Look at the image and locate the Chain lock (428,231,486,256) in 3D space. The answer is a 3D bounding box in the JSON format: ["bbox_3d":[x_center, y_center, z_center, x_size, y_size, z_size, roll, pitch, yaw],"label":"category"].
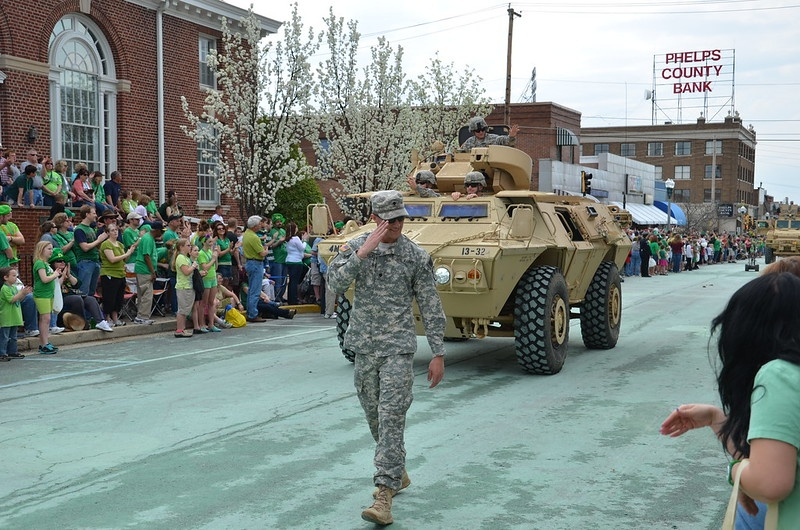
[{"bbox_3d":[0.849,-0.307,11.005,1.026,0.147,0.109,-22,32,-38],"label":"Chain lock"}]

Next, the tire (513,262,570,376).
[{"bbox_3d":[2.285,0.880,11.948,0.567,1.796,1.846,1,7,27],"label":"tire"}]

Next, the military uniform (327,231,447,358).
[{"bbox_3d":[-0.112,0.256,6.977,1.108,1.162,0.582,2,-4,1],"label":"military uniform"}]

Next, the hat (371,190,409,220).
[{"bbox_3d":[-0.130,-0.549,6.819,0.228,0.148,0.303,-4,9,-18],"label":"hat"}]

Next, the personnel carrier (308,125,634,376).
[{"bbox_3d":[1.747,-0.278,13.283,3.355,2.798,5.487,-2,-3,30],"label":"personnel carrier"}]

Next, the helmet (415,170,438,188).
[{"bbox_3d":[0.490,-1.493,12.932,0.336,0.253,0.257,18,-4,-10],"label":"helmet"}]

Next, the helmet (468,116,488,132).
[{"bbox_3d":[1.415,-2.521,13.685,0.309,0.253,0.333,-9,2,-1],"label":"helmet"}]

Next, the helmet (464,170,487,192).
[{"bbox_3d":[1.236,-1.365,12.537,0.334,0.346,0.368,-3,-3,32],"label":"helmet"}]
